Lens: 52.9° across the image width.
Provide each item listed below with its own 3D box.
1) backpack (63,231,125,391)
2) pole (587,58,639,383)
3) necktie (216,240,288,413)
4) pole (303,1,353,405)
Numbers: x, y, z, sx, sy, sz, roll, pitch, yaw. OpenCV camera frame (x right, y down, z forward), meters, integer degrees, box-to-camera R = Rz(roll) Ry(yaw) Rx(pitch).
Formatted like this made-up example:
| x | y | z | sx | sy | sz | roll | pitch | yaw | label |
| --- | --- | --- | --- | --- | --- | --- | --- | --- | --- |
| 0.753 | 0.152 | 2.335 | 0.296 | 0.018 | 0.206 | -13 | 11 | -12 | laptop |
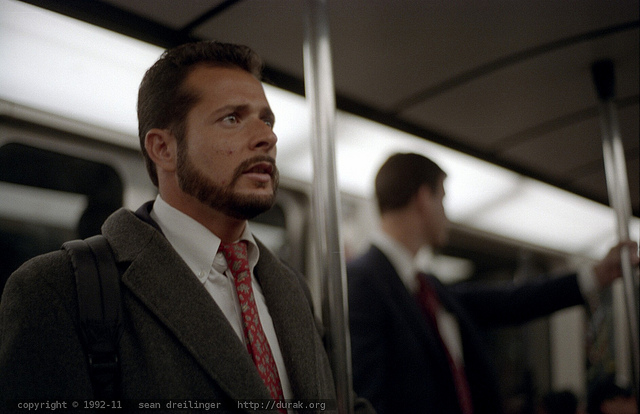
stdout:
| x | y | z | sx | sy | sz | roll | pitch | yaw | label |
| --- | --- | --- | --- | --- | --- | --- | --- | --- | --- |
| -0.913 | 0.401 | 2.551 | 0.252 | 0.620 | 0.173 | -7 | -15 | 39 | backpack |
| 1.496 | 0.007 | 3.270 | 0.239 | 1.621 | 0.051 | 6 | -12 | -17 | pole |
| -0.332 | 0.486 | 2.811 | 0.245 | 0.796 | 0.082 | 4 | -28 | -42 | necktie |
| 0.045 | -0.059 | 3.000 | 0.304 | 1.876 | 0.099 | 12 | -15 | -36 | pole |
